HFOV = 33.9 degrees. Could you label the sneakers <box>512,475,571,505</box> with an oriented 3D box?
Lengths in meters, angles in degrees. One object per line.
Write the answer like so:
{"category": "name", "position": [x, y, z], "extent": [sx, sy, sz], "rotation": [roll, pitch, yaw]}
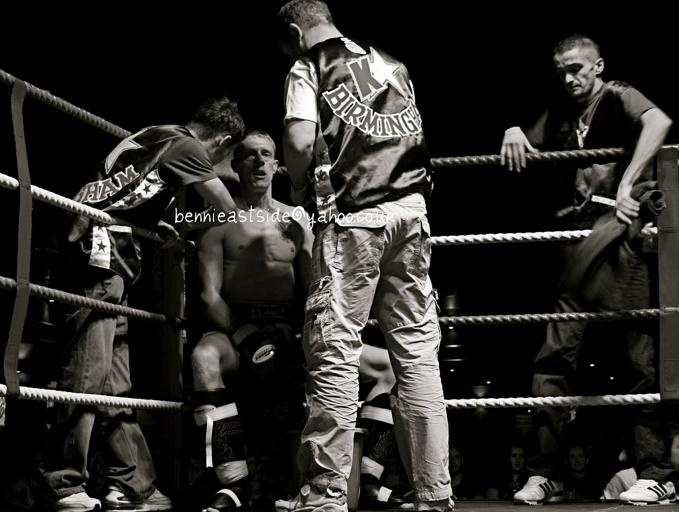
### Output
{"category": "sneakers", "position": [0.990, 1.152, 5.446], "extent": [0.278, 0.106, 0.106], "rotation": [14, -22, -38]}

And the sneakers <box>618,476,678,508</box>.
{"category": "sneakers", "position": [1.460, 1.118, 5.302], "extent": [0.261, 0.101, 0.112], "rotation": [5, -19, -14]}
